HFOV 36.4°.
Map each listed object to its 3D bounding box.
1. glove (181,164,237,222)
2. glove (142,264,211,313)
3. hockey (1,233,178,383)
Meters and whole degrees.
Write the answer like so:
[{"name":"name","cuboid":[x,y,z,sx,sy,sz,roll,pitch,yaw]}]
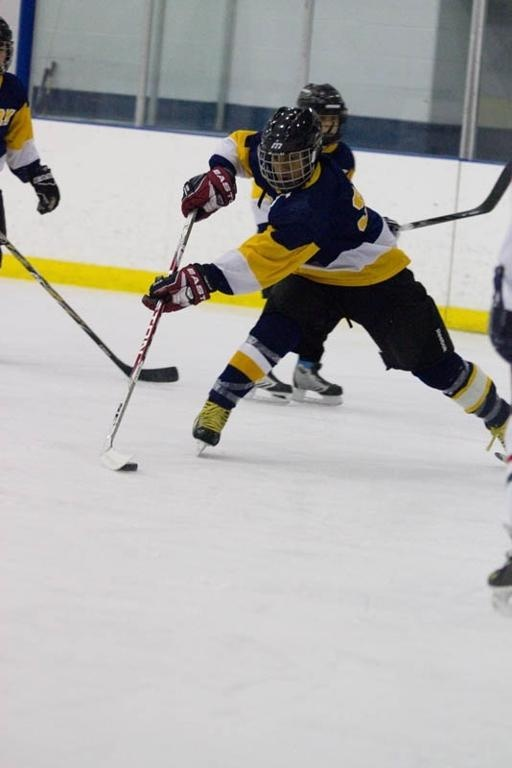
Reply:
[{"name":"glove","cuboid":[-0.178,-0.650,2.702,0.160,0.206,0.091,14,44,-42]},{"name":"glove","cuboid":[-0.214,-0.257,2.230,0.209,0.076,0.113,-20,37,1]},{"name":"hockey","cuboid":[-0.571,-0.245,3.206,1.084,0.080,0.365,40,-26,-21]}]
